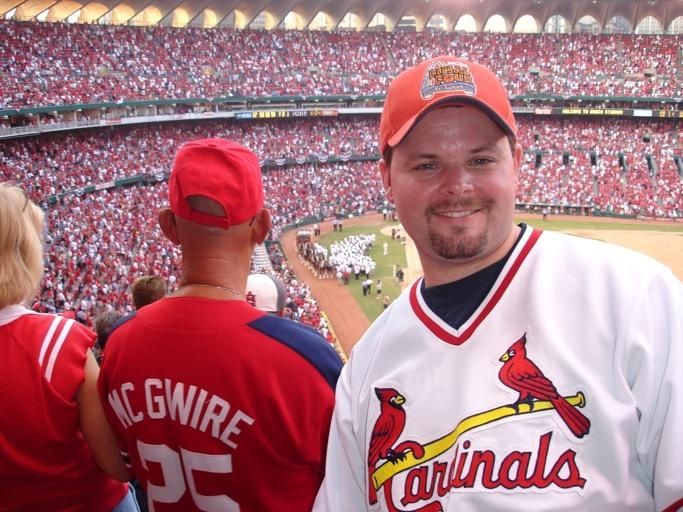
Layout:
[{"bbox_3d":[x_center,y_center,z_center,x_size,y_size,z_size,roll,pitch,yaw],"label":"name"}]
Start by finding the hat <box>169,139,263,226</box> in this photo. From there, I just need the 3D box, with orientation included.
[{"bbox_3d":[-0.876,-0.490,4.597,0.495,0.423,0.869,10,20,-4],"label":"hat"}]

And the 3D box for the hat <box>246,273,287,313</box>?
[{"bbox_3d":[-0.727,0.360,6.338,0.267,0.259,0.419,9,1,-7],"label":"hat"}]
